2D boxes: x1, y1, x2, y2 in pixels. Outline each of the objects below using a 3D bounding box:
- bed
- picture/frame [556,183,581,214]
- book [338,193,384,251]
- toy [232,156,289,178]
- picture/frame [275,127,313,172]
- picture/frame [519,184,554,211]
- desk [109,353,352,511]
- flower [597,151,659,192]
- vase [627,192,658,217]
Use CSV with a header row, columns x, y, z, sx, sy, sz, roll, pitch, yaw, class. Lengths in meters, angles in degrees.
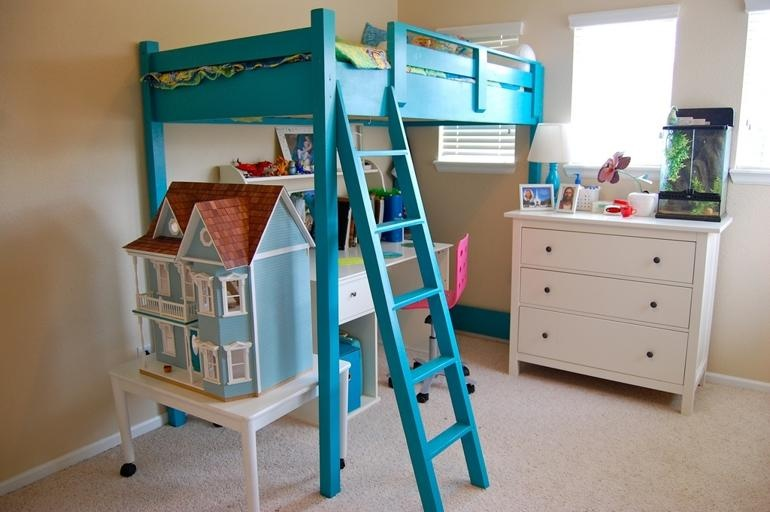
x,y,z,sx,sy,sz,roll,pitch,yaw,class
-0.038,-0.519,4.849,2.682,3.231,3.577,4,10,32,bed
1.425,-0.428,4.525,0.183,0.240,0.029,20,-1,26,picture/frame
-0.171,-0.204,3.828,0.257,0.340,0.323,-10,39,-27,book
-0.903,-0.632,4.290,0.259,0.075,0.189,-14,20,-42,toy
-0.712,-0.814,4.522,0.033,0.331,0.339,-13,7,37,picture/frame
1.210,-0.448,4.621,0.228,0.187,0.017,0,1,7,picture/frame
-0.862,1.178,3.551,1.198,0.731,0.924,8,18,27,desk
1.871,-0.645,4.536,0.413,0.299,0.256,3,15,14,flower
1.903,-0.375,4.308,0.188,0.174,0.181,5,10,31,vase
